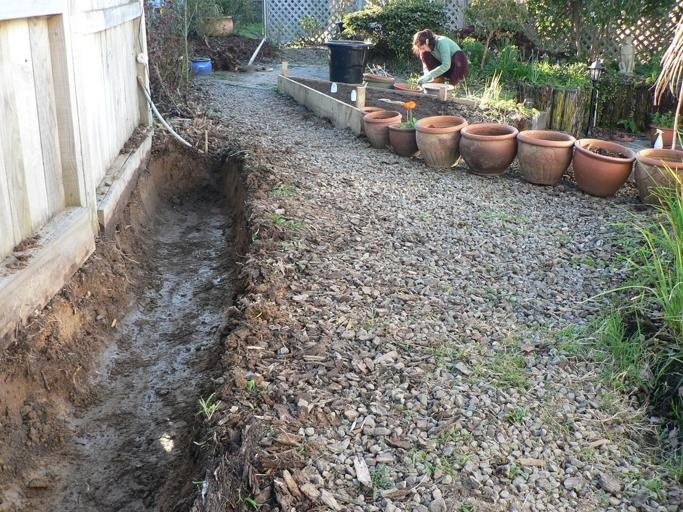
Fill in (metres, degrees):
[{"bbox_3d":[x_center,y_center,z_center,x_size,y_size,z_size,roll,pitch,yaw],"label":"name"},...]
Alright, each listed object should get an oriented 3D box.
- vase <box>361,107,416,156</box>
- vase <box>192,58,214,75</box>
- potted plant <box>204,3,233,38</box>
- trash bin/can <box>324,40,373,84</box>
[{"bbox_3d":[0.707,-1.753,7.375,0.414,0.526,0.923,-11,28,-32],"label":"vase"},{"bbox_3d":[-3.132,-4.270,11.611,0.269,0.297,0.661,16,26,26],"label":"vase"},{"bbox_3d":[-3.259,-6.069,13.555,0.758,0.483,0.863,1,42,-6],"label":"potted plant"},{"bbox_3d":[0.142,-4.062,10.762,0.953,0.776,1.032,-1,34,-5],"label":"trash bin/can"}]
